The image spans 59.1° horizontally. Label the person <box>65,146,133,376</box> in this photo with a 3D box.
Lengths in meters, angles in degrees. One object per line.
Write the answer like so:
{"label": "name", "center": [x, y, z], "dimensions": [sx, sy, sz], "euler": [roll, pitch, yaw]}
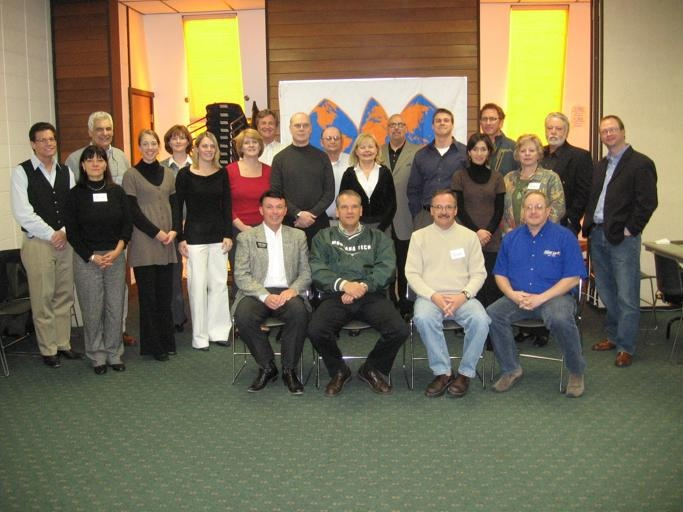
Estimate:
{"label": "person", "center": [-2.092, 0.031, 5.327], "dimensions": [0.541, 1.967, 0.456], "euler": [-8, 15, -26]}

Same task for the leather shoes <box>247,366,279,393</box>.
{"label": "leather shoes", "center": [-0.636, 1.011, 4.965], "dimensions": [0.121, 0.203, 0.312], "euler": [3, 8, 38]}

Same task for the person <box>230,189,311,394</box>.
{"label": "person", "center": [-0.575, 0.282, 4.977], "dimensions": [0.648, 1.571, 0.680], "euler": [-2, 13, -3]}

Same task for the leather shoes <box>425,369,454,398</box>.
{"label": "leather shoes", "center": [0.782, 1.032, 4.826], "dimensions": [0.113, 0.122, 0.305], "euler": [0, 6, 35]}

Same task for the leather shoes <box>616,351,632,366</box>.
{"label": "leather shoes", "center": [2.512, 0.920, 5.377], "dimensions": [0.123, 0.091, 0.171], "euler": [5, 14, 25]}

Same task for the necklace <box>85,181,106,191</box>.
{"label": "necklace", "center": [-2.153, -0.607, 5.281], "dimensions": [0.164, 0.080, 0.050], "euler": [-5, 14, -19]}

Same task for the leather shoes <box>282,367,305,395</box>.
{"label": "leather shoes", "center": [-0.399, 1.005, 4.939], "dimensions": [0.170, 0.172, 0.250], "euler": [-2, 13, -4]}

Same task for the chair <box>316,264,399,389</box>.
{"label": "chair", "center": [0.148, 0.651, 4.963], "dimensions": [0.725, 0.768, 0.735], "euler": [4, 17, 20]}

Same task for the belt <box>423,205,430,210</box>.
{"label": "belt", "center": [0.828, -0.473, 5.901], "dimensions": [0.047, 0.028, 0.047], "euler": [1, 1, 29]}

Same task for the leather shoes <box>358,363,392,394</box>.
{"label": "leather shoes", "center": [0.267, 0.989, 4.939], "dimensions": [0.333, 0.152, 0.150], "euler": [24, 32, 38]}

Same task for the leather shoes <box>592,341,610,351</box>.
{"label": "leather shoes", "center": [2.497, 0.862, 5.800], "dimensions": [0.205, 0.081, 0.065], "euler": [1, 32, 0]}

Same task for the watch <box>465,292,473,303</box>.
{"label": "watch", "center": [1.022, 0.334, 4.855], "dimensions": [0.056, 0.065, 0.035], "euler": [-3, -10, -8]}

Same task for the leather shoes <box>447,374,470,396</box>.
{"label": "leather shoes", "center": [0.937, 1.014, 4.838], "dimensions": [0.167, 0.166, 0.254], "euler": [2, 13, 13]}

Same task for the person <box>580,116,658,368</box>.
{"label": "person", "center": [2.564, -0.159, 5.510], "dimensions": [0.513, 2.193, 0.814], "euler": [-1, 13, 0]}

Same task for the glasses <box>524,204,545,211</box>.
{"label": "glasses", "center": [1.539, -0.383, 4.840], "dimensions": [0.133, 0.047, 0.028], "euler": [3, 14, 16]}

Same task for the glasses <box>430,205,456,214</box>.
{"label": "glasses", "center": [0.840, -0.389, 4.955], "dimensions": [0.188, 0.065, 0.093], "euler": [0, 13, 4]}

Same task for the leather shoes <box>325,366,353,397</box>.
{"label": "leather shoes", "center": [-0.020, 1.003, 4.863], "dimensions": [0.113, 0.126, 0.292], "euler": [7, 23, 30]}

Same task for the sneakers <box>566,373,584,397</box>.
{"label": "sneakers", "center": [1.840, 1.016, 4.751], "dimensions": [0.129, 0.163, 0.140], "euler": [4, 14, 21]}

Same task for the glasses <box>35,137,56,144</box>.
{"label": "glasses", "center": [-2.607, -1.012, 5.314], "dimensions": [0.153, 0.063, 0.079], "euler": [-9, 15, -32]}
